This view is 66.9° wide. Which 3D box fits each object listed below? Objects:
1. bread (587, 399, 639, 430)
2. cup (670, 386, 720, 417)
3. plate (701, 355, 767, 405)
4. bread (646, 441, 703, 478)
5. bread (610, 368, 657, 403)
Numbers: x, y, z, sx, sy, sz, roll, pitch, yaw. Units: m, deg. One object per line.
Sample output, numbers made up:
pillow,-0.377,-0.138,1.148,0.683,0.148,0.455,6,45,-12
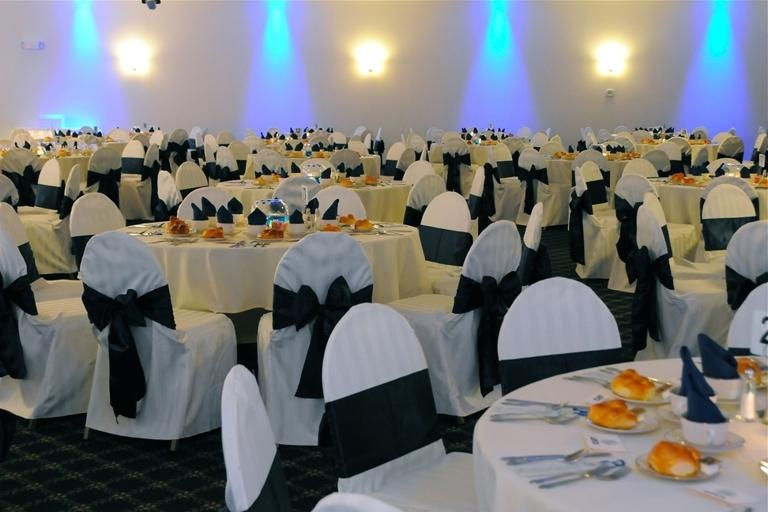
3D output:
bread,0.783,0.522,2.027,0.098,0.045,0.118,-1,5,-10
cup,1.070,0.504,2.029,0.102,0.106,0.130,-1,0,1
plate,1.263,0.442,2.141,0.219,0.111,0.185,5,8,43
bread,0.871,0.583,1.770,0.104,0.046,0.115,-11,20,-11
bread,0.956,0.491,2.234,0.157,0.071,0.180,-3,13,12
